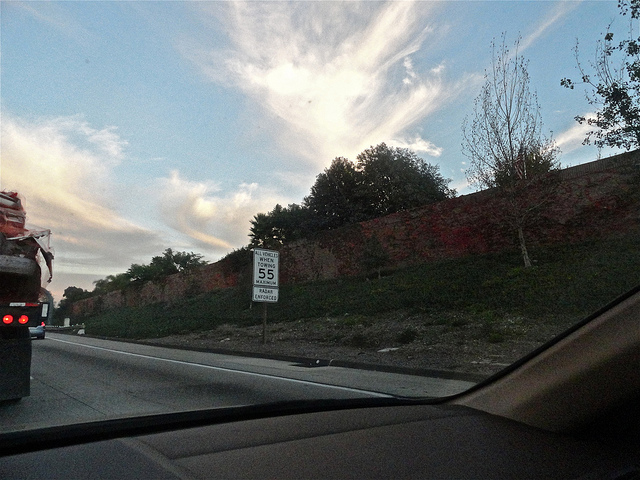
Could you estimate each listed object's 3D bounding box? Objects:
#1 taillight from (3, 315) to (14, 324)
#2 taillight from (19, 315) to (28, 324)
[{"bbox_3d":[-4.687,1.192,6.101,0.030,0.131,0.123,-6,-14,29],"label":"taillight"},{"bbox_3d":[-4.565,1.227,6.251,0.029,0.123,0.110,-6,-14,29],"label":"taillight"}]
